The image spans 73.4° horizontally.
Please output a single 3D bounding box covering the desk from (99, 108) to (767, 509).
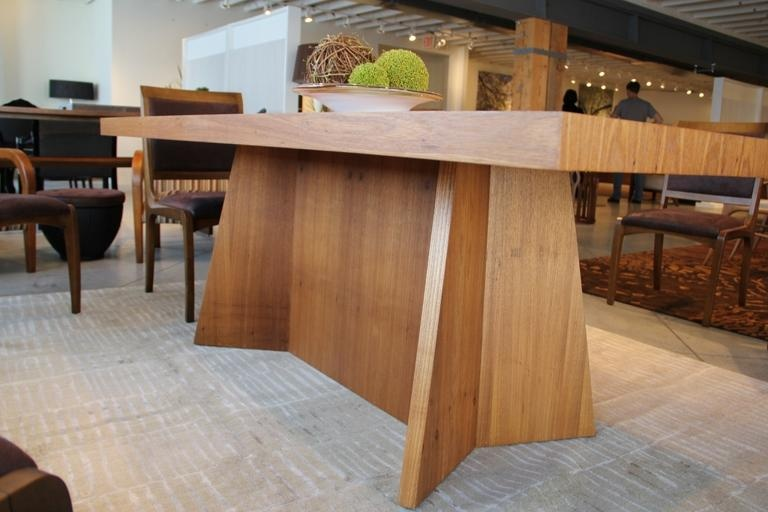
[{"bbox_3d":[0.038,0.078,1.595,1.565,0.984,0.723,13,19,41],"label":"desk"}]

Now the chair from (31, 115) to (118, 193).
[{"bbox_3d":[-2.805,-0.913,4.632,0.677,0.484,0.460,-6,10,-33],"label":"chair"}]

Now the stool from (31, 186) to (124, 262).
[{"bbox_3d":[-2.148,-0.214,3.541,0.662,0.436,0.606,-5,9,-33],"label":"stool"}]
